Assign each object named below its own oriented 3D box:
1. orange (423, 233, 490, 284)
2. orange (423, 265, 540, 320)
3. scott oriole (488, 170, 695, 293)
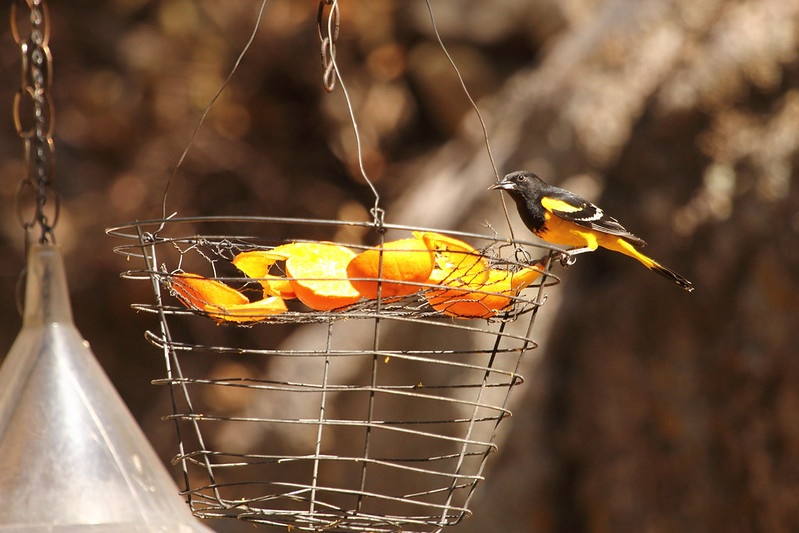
[{"bbox_3d":[0.141,-0.016,3.389,0.170,0.132,0.208,2,-19,8],"label":"orange"},{"bbox_3d":[0.211,0.067,3.517,0.324,0.118,0.292,0,11,31],"label":"orange"},{"bbox_3d":[0.600,-0.095,3.909,0.826,0.354,0.247,6,-1,-7],"label":"scott oriole"}]
